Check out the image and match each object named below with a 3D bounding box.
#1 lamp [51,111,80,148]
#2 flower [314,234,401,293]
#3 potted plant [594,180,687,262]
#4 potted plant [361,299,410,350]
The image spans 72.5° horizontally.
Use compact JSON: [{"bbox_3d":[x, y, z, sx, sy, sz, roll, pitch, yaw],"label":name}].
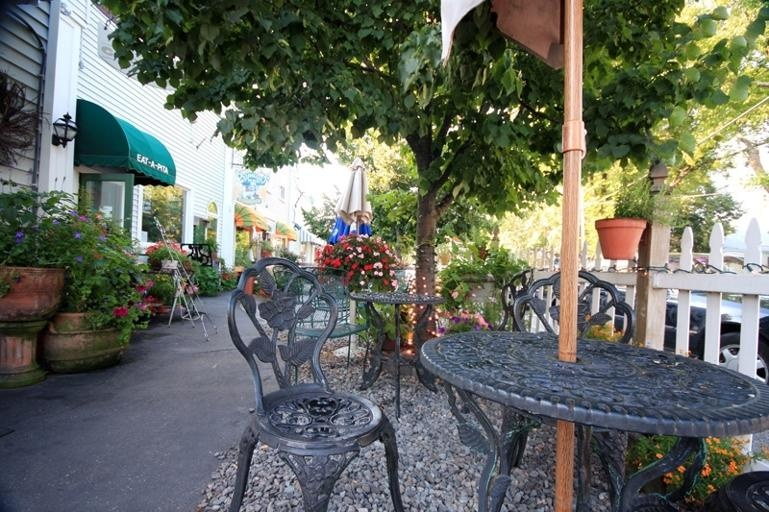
[{"bbox_3d":[-4.437,-1.759,7.364,0.179,0.484,0.437,-2,-2,3],"label":"lamp"},{"bbox_3d":[-0.299,0.081,7.289,0.758,0.735,0.828,7,-2,12],"label":"flower"},{"bbox_3d":[2.481,-0.293,5.359,0.812,1.024,0.714,2,-11,45],"label":"potted plant"},{"bbox_3d":[0.001,0.835,6.308,0.593,0.684,0.636,-2,-6,10],"label":"potted plant"}]
